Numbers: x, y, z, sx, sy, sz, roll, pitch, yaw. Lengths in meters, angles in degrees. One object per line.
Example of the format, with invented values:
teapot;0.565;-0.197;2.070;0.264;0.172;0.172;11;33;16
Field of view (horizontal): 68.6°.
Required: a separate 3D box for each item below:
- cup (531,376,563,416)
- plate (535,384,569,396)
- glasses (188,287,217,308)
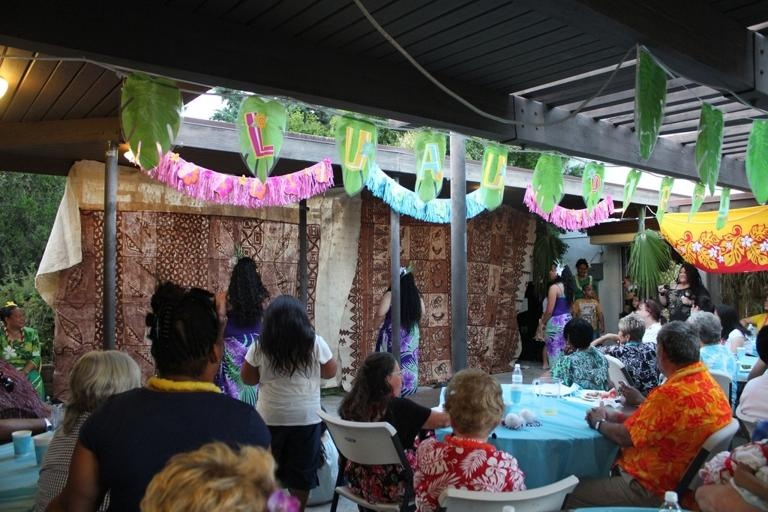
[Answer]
cup;1.308;1.164;4.795;0.197;0.208;0.366;8;-4;-16
plate;1.448;1.150;4.845;0.166;0.053;0.138;4;-7;-42
glasses;-0.847;0.194;2.642;0.083;0.040;0.108;10;-5;1
